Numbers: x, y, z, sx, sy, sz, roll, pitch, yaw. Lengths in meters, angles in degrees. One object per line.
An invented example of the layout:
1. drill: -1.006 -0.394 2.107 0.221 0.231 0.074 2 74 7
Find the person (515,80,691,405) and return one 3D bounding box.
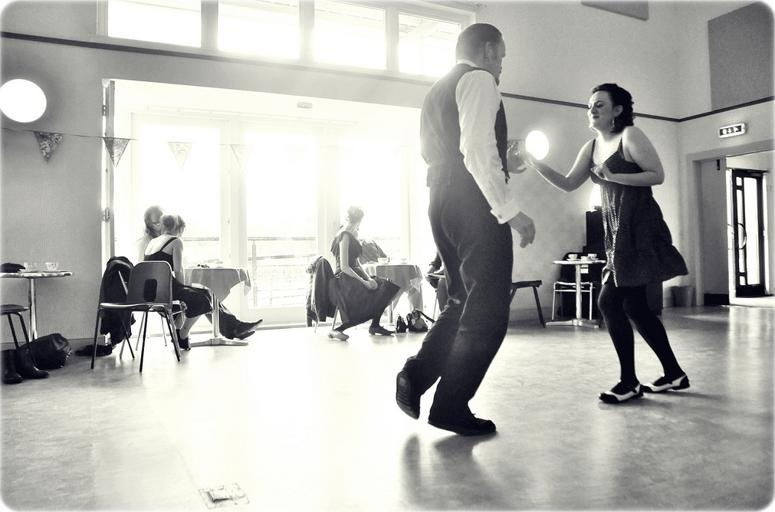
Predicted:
1. person: 1.926 -0.147 4.862 1.065 2.584 0.703 4 11 27

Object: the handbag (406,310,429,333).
1. handbag: 0.381 0.870 7.969 0.224 0.318 0.114 -10 -25 0

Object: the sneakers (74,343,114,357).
1. sneakers: -3.314 1.065 6.737 0.404 0.132 0.251 -4 -4 6

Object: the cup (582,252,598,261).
1. cup: 2.836 -0.010 8.347 0.212 0.077 0.158 -1 4 -44

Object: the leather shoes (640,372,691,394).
1. leather shoes: 2.309 1.068 5.059 0.497 0.207 0.178 0 -6 4

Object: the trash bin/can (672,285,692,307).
1. trash bin/can: 4.895 0.664 10.142 0.323 0.343 0.343 11 -9 -4

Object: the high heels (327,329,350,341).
1. high heels: -0.603 0.981 7.399 0.286 0.100 0.119 17 -2 20

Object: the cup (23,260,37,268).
1. cup: -3.936 0.076 6.567 0.133 0.105 0.142 0 -6 0

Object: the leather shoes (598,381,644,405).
1. leather shoes: 1.871 1.100 4.827 0.383 0.153 0.137 -4 -6 -20

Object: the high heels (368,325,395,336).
1. high heels: -0.091 0.963 7.715 0.374 0.150 0.124 0 -4 -1

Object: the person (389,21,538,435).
1. person: 0.572 -0.199 4.233 0.854 2.950 0.640 1 10 13

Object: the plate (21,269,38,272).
1. plate: -3.850 0.140 6.413 0.101 0.025 0.097 1 -5 -6

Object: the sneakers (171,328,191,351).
1. sneakers: -2.366 0.979 6.830 0.137 0.161 0.385 4 -5 13

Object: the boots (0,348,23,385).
1. boots: -3.554 1.048 5.636 0.164 0.248 0.384 -7 11 -33

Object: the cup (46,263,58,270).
1. cup: -3.682 0.096 6.548 0.115 0.069 0.113 -2 -3 0

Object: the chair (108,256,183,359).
1. chair: -2.526 0.574 6.308 0.721 1.083 1.091 -5 10 -19

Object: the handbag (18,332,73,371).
1. handbag: -3.456 0.953 6.069 0.370 0.264 0.146 13 -38 18
